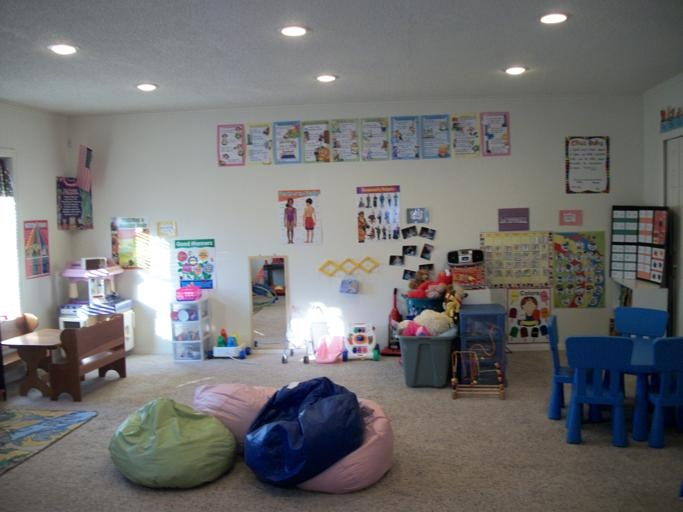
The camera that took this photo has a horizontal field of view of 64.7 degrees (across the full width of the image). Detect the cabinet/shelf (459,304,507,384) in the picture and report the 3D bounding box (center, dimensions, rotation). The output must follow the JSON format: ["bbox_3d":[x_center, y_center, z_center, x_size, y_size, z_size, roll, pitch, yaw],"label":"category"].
[{"bbox_3d":[1.532,0.950,5.833,0.505,0.753,0.556,1,12,12],"label":"cabinet/shelf"}]

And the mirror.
[{"bbox_3d":[-1.067,0.468,7.826,0.551,1.247,1.954,-4,11,-8],"label":"mirror"}]

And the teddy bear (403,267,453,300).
[{"bbox_3d":[1.034,0.337,6.306,0.436,0.200,0.327,-10,-1,14],"label":"teddy bear"}]

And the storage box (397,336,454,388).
[{"bbox_3d":[0.892,1.096,5.636,0.634,0.480,0.530,-1,-5,4],"label":"storage box"}]

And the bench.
[{"bbox_3d":[-2.996,1.039,5.870,0.915,0.579,0.916,1,3,7],"label":"bench"}]
